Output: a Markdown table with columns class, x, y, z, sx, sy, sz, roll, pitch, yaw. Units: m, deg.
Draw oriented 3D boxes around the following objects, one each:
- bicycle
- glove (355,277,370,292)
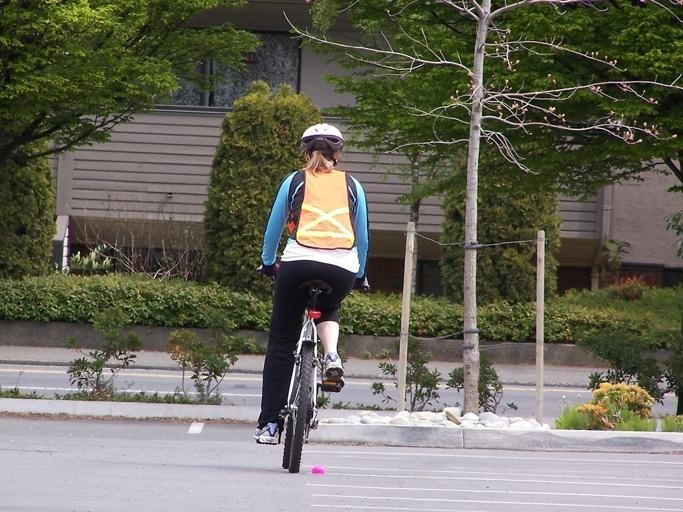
| class | x | y | z | sx | sy | sz | roll | pitch | yaw |
| --- | --- | --- | --- | --- | --- | --- | --- | --- | --- |
| bicycle | -0.578 | 2.002 | 30.809 | 0.654 | 3.202 | 0.827 | 6 | -4 | -40 |
| glove | 0.342 | 0.464 | 31.199 | 0.135 | 0.196 | 0.415 | 0 | -3 | 6 |
